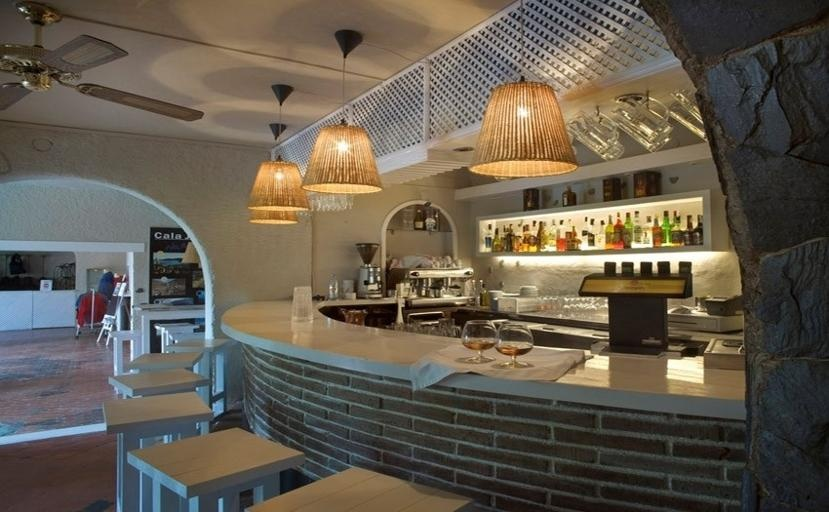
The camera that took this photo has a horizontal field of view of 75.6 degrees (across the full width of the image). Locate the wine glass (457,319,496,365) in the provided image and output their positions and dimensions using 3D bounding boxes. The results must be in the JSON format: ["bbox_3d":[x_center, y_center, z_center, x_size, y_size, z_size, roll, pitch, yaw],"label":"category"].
[{"bbox_3d":[0.372,0.463,2.917,0.249,0.204,0.224,0,0,21],"label":"wine glass"}]

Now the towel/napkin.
[{"bbox_3d":[0.427,0.588,2.850,0.447,0.110,0.414,-2,0,-10],"label":"towel/napkin"}]

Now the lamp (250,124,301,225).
[{"bbox_3d":[-1.156,-0.735,4.529,0.437,0.689,0.416,6,7,28],"label":"lamp"}]

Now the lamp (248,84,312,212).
[{"bbox_3d":[-1.247,-0.938,4.813,0.467,1.226,1.559,-5,6,-12],"label":"lamp"}]

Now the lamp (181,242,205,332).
[{"bbox_3d":[-3.589,0.479,8.888,0.394,1.417,0.361,-7,4,-27],"label":"lamp"}]

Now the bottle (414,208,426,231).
[{"bbox_3d":[0.064,-0.555,7.948,0.126,0.317,0.183,1,8,38],"label":"bottle"}]

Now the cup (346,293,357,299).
[{"bbox_3d":[-0.823,0.517,6.968,0.096,0.053,0.095,-1,-1,0],"label":"cup"}]

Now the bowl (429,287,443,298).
[{"bbox_3d":[0.286,0.490,7.259,0.151,0.123,0.140,0,2,0],"label":"bowl"}]

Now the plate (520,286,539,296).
[{"bbox_3d":[1.422,0.444,6.773,0.163,0.086,0.151,0,-3,1],"label":"plate"}]

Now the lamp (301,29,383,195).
[{"bbox_3d":[-0.611,-1.089,4.127,0.521,1.212,1.310,-5,6,-7],"label":"lamp"}]

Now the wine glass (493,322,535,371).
[{"bbox_3d":[0.525,0.477,2.843,0.239,0.202,0.221,10,-13,-33],"label":"wine glass"}]

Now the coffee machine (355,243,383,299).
[{"bbox_3d":[-0.619,0.169,7.233,0.357,0.694,0.595,-4,6,-4],"label":"coffee machine"}]

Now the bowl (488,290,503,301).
[{"bbox_3d":[1.025,0.491,6.799,0.122,0.100,0.148,1,-3,-43],"label":"bowl"}]

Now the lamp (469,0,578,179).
[{"bbox_3d":[0.595,-0.768,3.076,0.596,0.614,0.442,-5,6,-15],"label":"lamp"}]
